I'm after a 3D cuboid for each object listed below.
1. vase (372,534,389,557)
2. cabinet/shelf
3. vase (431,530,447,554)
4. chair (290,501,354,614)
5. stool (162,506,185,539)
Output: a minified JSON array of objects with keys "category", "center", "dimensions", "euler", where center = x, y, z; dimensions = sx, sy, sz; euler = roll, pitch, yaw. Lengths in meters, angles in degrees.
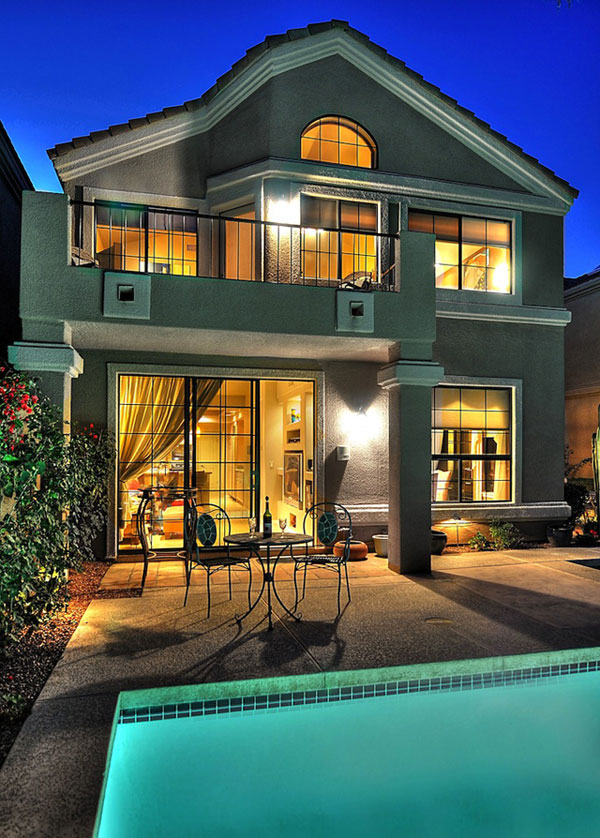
[{"category":"vase","center":[1.009,1.561,8.659],"dimensions":[0.235,0.249,0.309],"euler":[-1,2,-9]},{"category":"cabinet/shelf","center":[-1.513,1.330,8.044],"dimensions":[1.037,1.654,1.063],"euler":[1,1,-16]},{"category":"vase","center":[1.730,1.527,8.684],"dimensions":[0.254,0.212,0.259],"euler":[-3,7,-26]},{"category":"chair","center":[0.251,1.424,7.073],"dimensions":[0.729,1.421,0.824],"euler":[-1,-14,12]},{"category":"stool","center":[-1.621,1.311,8.939],"dimensions":[0.324,0.249,0.487],"euler":[1,0,-10]}]
